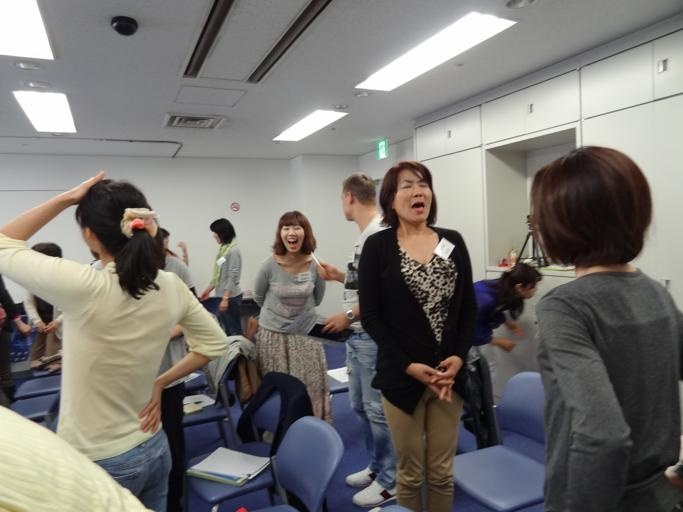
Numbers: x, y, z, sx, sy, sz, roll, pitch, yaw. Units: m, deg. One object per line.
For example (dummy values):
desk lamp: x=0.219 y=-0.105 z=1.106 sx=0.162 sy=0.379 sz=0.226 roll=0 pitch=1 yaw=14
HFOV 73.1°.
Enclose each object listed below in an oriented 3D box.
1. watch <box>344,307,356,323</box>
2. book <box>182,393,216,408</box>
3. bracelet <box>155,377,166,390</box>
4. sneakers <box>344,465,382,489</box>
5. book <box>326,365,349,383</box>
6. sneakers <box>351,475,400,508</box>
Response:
watch: x=0.051 y=0.341 z=2.626 sx=0.048 sy=0.078 sz=0.079 roll=-11 pitch=33 yaw=-23
book: x=-1.131 y=1.146 z=3.662 sx=0.197 sy=0.055 sz=0.194 roll=6 pitch=2 yaw=39
bracelet: x=-0.709 y=0.498 z=1.801 sx=0.039 sy=0.037 sz=0.040 roll=-4 pitch=25 yaw=1
sneakers: x=0.132 y=1.410 z=2.957 sx=0.205 sy=0.092 sz=0.082 roll=5 pitch=-2 yaw=-30
book: x=-0.015 y=1.030 z=3.991 sx=0.243 sy=0.028 sz=0.218 roll=-2 pitch=8 yaw=-33
sneakers: x=0.190 y=1.377 z=2.704 sx=0.231 sy=0.103 sz=0.121 roll=-2 pitch=1 yaw=-9
